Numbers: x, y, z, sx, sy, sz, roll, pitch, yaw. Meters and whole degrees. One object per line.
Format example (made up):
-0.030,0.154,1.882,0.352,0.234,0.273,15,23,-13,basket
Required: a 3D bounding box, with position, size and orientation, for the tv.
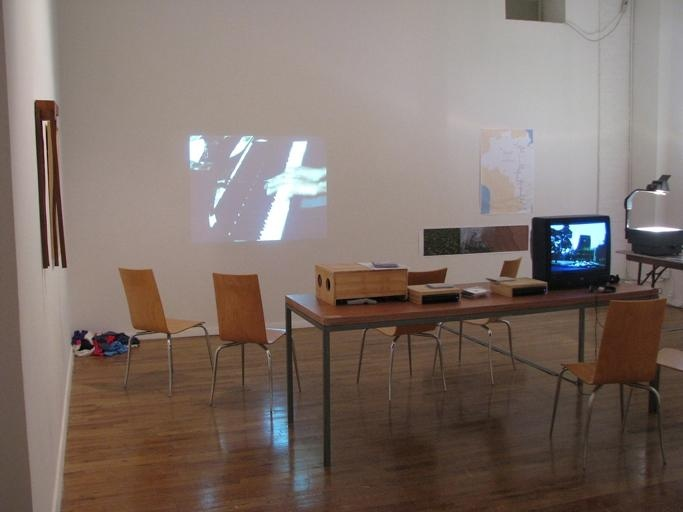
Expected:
1.844,-0.019,4.490,0.559,0.545,0.300,-1,3,-10,tv
